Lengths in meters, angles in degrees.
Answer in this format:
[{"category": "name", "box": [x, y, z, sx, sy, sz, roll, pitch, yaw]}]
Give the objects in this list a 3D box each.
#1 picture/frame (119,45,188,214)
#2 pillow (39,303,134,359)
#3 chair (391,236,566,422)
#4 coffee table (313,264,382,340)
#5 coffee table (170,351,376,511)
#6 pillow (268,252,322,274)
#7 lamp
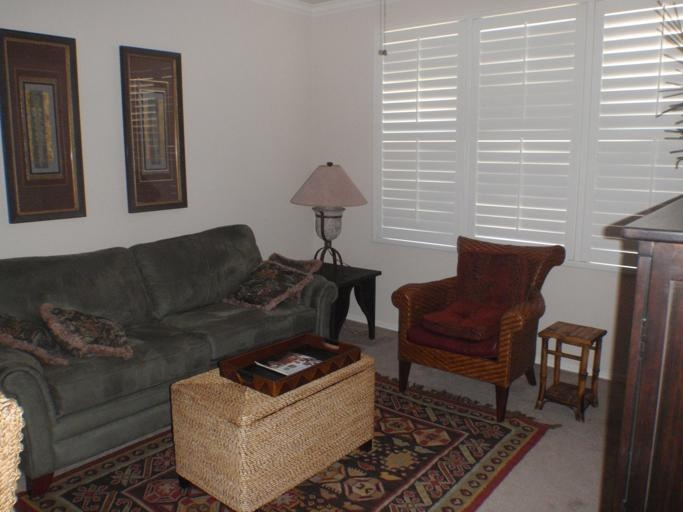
[{"category": "picture/frame", "box": [-1.426, -0.949, 3.969, 0.120, 1.183, 0.539, 7, 16, 33]}, {"category": "pillow", "box": [-1.476, 0.437, 2.997, 0.444, 0.125, 0.343, 22, 9, 5]}, {"category": "chair", "box": [0.989, 0.421, 3.744, 1.020, 0.991, 0.975, 6, 12, 30]}, {"category": "coffee table", "box": [0.100, 0.320, 4.545, 0.666, 0.613, 0.663, 6, 11, 33]}, {"category": "coffee table", "box": [-0.387, 0.852, 2.731, 0.681, 0.598, 1.022, 8, 12, 40]}, {"category": "pillow", "box": [-0.379, 0.059, 4.162, 0.315, 0.059, 0.195, 16, 20, 20]}, {"category": "lamp", "box": [-0.119, -0.336, 4.547, 0.718, 0.906, 0.692, -3, 7, -25]}]
